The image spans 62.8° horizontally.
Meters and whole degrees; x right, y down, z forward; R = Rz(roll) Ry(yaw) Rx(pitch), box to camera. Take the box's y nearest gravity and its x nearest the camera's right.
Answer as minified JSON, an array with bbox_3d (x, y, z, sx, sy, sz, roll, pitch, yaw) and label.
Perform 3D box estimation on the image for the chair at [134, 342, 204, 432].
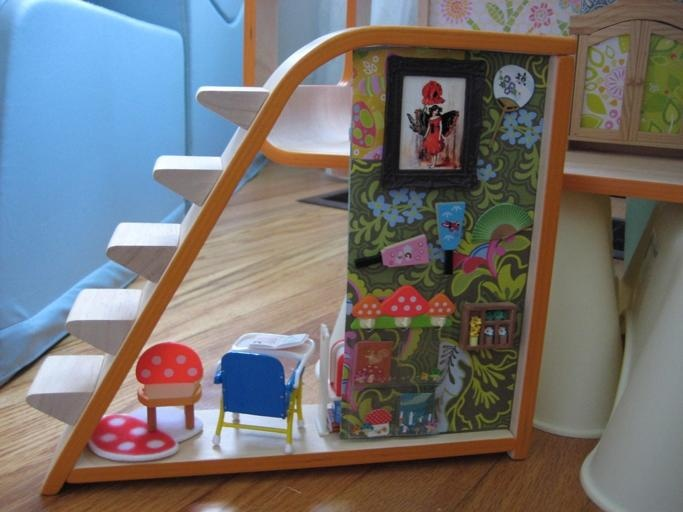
[{"bbox_3d":[-0.402,0.299,1.331,0.167,0.201,0.169,3,6,15],"label":"chair"}]

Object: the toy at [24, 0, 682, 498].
[{"bbox_3d":[0.021,-0.038,1.421,1.471,0.986,0.513,-1,15,-8],"label":"toy"}]
